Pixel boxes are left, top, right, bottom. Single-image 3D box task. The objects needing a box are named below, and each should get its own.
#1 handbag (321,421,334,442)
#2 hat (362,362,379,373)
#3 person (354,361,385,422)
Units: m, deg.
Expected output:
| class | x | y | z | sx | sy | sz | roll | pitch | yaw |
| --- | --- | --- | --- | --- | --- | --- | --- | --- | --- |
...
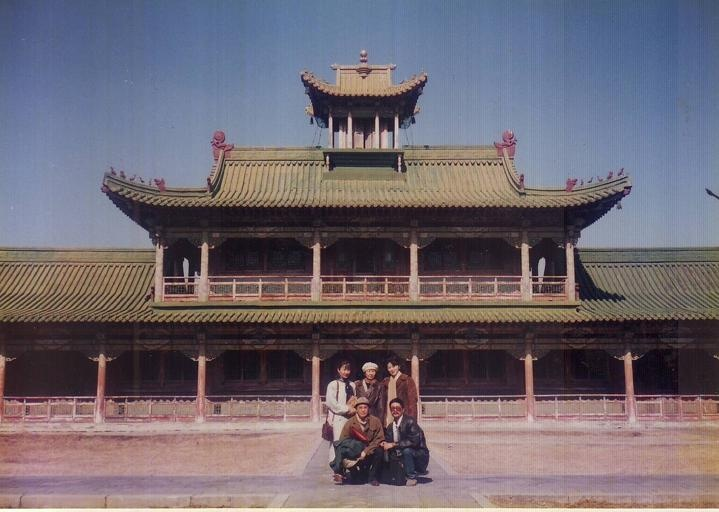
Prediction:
| class | x | y | z | sx | sy | sz | roll | pitch | yaw |
| --- | --- | --- | --- | --- | --- | --- | --- | --- | --- |
| handbag | -1.147 | 6.531 | 52.381 | 0.397 | 0.752 | 0.495 | -3 | -14 | 8 |
| hat | 0.393 | 4.157 | 52.857 | 0.505 | 0.351 | 0.355 | -5 | -14 | 17 |
| person | 0.318 | 5.359 | 53.145 | 1.184 | 2.629 | 0.749 | 2 | 1 | -11 |
